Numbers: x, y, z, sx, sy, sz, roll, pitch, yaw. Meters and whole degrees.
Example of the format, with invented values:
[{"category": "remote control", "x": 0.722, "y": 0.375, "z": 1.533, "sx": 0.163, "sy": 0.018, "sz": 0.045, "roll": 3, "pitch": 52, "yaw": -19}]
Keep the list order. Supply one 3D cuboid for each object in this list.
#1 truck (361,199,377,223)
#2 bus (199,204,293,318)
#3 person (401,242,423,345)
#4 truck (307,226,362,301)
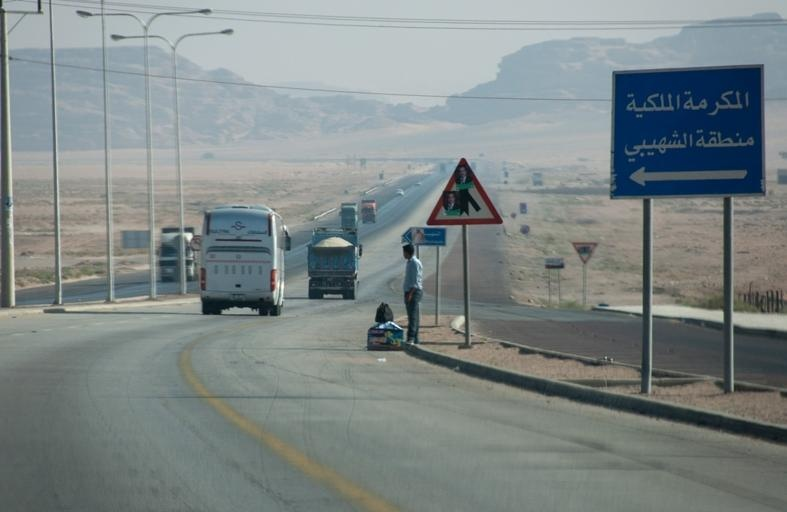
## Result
[{"category": "truck", "x": -2.420, "y": -4.157, "z": 110.116, "sx": 1.217, "sy": 1.875, "sz": 1.774, "roll": -3, "pitch": 14, "yaw": -8}, {"category": "bus", "x": -5.605, "y": -0.018, "z": 42.628, "sx": 2.793, "sy": 3.090, "sz": 10.521, "roll": 0, "pitch": 1, "yaw": -7}, {"category": "person", "x": 0.637, "y": 1.123, "z": 32.721, "sx": 0.656, "sy": 2.564, "sz": 0.676, "roll": -1, "pitch": 0, "yaw": -13}, {"category": "truck", "x": -3.082, "y": 0.366, "z": 58.683, "sx": 2.939, "sy": 2.779, "sz": 8.501, "roll": 0, "pitch": 1, "yaw": 0}]
